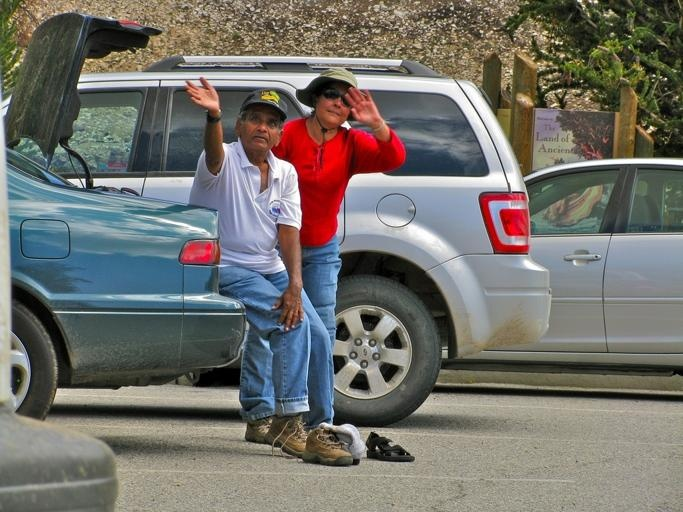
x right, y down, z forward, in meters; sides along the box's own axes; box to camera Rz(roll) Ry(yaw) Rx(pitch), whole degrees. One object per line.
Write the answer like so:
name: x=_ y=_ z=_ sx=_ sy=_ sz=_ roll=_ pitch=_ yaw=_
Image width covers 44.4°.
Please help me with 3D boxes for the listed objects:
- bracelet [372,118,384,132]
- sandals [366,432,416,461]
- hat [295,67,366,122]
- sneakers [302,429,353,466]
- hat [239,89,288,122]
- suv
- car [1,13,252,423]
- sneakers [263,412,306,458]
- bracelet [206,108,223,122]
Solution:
bracelet: x=0.214 y=-0.735 z=4.663 sx=0.066 sy=0.059 sz=0.057 roll=-1 pitch=-1 yaw=-14
sandals: x=0.285 y=1.143 z=5.002 sx=0.121 sy=0.126 sz=0.311 roll=-1 pitch=-1 yaw=-43
hat: x=-0.062 y=-0.975 z=5.072 sx=0.477 sy=0.210 sz=0.567 roll=2 pitch=-17 yaw=-6
sneakers: x=-0.079 y=1.095 z=4.784 sx=0.156 sy=0.198 sz=0.419 roll=3 pitch=-6 yaw=-33
hat: x=-0.413 y=-0.897 z=4.793 sx=0.232 sy=0.123 sz=0.311 roll=12 pitch=-4 yaw=-10
suv: x=0.062 y=-0.237 z=6.712 sx=4.466 sy=1.985 sz=2.011 roll=4 pitch=-5 yaw=0
car: x=-1.375 y=-0.348 z=4.953 sx=1.205 sy=2.382 sz=1.475 roll=2 pitch=2 yaw=-29
sneakers: x=-0.285 y=1.055 z=4.940 sx=0.326 sy=0.218 sz=0.132 roll=14 pitch=1 yaw=34
bracelet: x=-0.675 y=-0.757 z=4.448 sx=0.075 sy=0.055 sz=0.042 roll=11 pitch=-35 yaw=-4
